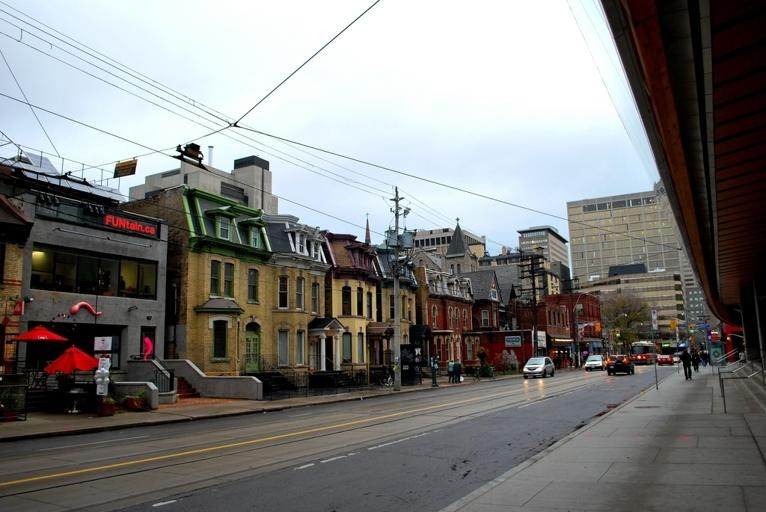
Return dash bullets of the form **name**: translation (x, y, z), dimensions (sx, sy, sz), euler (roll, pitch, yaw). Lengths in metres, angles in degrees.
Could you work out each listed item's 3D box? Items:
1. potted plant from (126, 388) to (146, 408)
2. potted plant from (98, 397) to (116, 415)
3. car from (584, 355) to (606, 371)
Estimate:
- **potted plant**: translation (-11.358, 6.634, 30.783), dimensions (0.725, 0.529, 0.719), euler (-4, -10, 16)
- **potted plant**: translation (-11.953, 6.433, 28.954), dimensions (0.729, 0.987, 0.698), euler (2, 1, -24)
- **car**: translation (20.553, 10.293, 65.659), dimensions (1.808, 1.400, 3.122), euler (-7, -18, 20)
